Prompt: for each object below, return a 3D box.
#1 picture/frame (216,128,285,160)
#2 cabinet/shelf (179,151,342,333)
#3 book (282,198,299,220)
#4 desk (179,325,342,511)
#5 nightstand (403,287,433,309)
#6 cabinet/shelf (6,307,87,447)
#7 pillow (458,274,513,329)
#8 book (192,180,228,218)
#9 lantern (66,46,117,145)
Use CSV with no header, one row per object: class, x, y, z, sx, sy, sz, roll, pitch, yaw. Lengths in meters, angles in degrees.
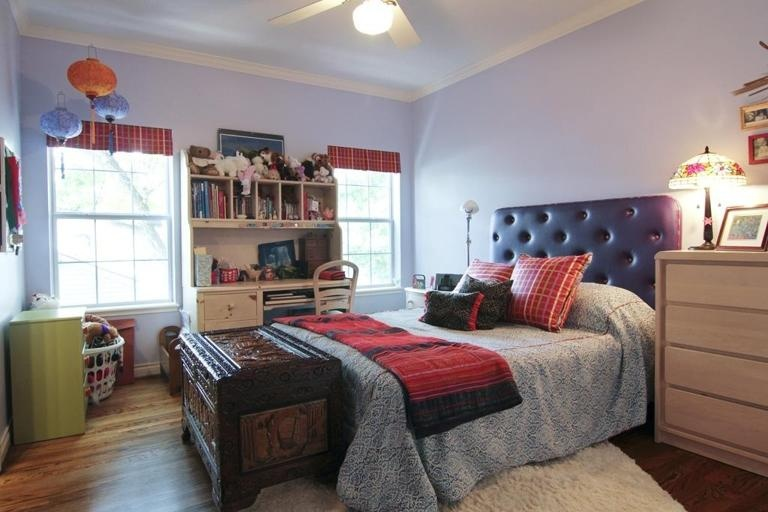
picture/frame,-1.465,-1.190,5.466,0.477,0.247,0.048,2,-9,-24
cabinet/shelf,-1.330,-0.131,5.227,2.134,2.031,0.673,0,0,-33
book,-1.020,-0.500,5.555,0.202,0.236,0.257,-1,4,1
desk,-0.879,0.970,3.463,0.956,0.767,1.271,-1,1,-29
nightstand,0.341,0.462,5.695,0.243,0.308,0.327,0,3,-29
cabinet/shelf,-2.592,0.950,3.901,0.528,0.906,1.017,-3,4,-30
pillow,0.837,0.365,4.071,0.434,0.377,0.127,10,-10,12
book,-1.816,-0.552,5.154,0.379,0.471,0.376,0,4,-28
lantern,-2.527,-1.375,4.480,0.345,0.760,0.697,-8,15,-26
